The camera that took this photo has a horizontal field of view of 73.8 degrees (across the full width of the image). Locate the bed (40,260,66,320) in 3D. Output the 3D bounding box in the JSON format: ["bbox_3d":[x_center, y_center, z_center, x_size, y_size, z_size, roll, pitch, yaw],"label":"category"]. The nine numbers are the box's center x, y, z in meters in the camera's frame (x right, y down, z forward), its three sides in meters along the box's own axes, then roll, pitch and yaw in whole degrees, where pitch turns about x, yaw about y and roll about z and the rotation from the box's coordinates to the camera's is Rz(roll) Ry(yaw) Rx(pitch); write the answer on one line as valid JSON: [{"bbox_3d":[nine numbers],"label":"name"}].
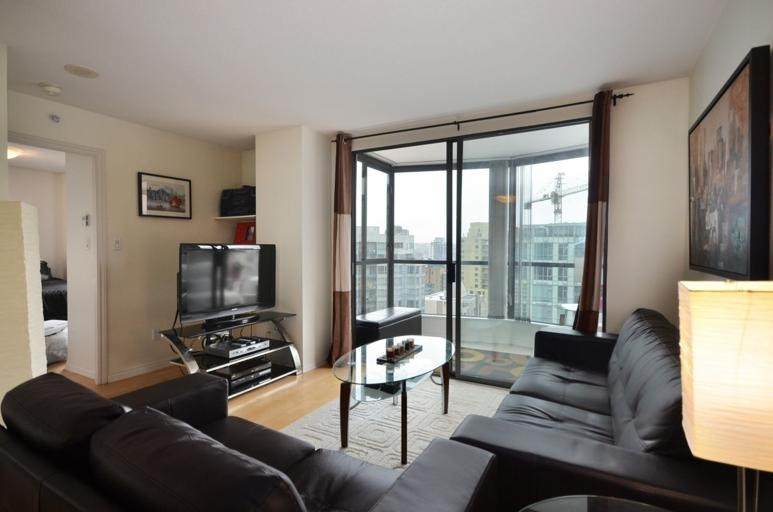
[{"bbox_3d":[-4.294,0.523,6.669,0.272,0.475,1.527,-8,13,-32],"label":"bed"}]

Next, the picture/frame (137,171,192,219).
[{"bbox_3d":[-2.401,-0.647,5.600,0.020,0.441,0.620,2,2,32],"label":"picture/frame"}]

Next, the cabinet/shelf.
[{"bbox_3d":[-1.494,0.963,5.113,0.619,0.599,1.231,3,7,39],"label":"cabinet/shelf"}]

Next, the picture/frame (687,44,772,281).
[{"bbox_3d":[2.257,-0.610,3.363,0.135,1.433,1.787,0,2,24],"label":"picture/frame"}]

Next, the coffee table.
[{"bbox_3d":[0.041,1.161,4.163,1.127,0.530,0.701,-11,9,39],"label":"coffee table"}]
